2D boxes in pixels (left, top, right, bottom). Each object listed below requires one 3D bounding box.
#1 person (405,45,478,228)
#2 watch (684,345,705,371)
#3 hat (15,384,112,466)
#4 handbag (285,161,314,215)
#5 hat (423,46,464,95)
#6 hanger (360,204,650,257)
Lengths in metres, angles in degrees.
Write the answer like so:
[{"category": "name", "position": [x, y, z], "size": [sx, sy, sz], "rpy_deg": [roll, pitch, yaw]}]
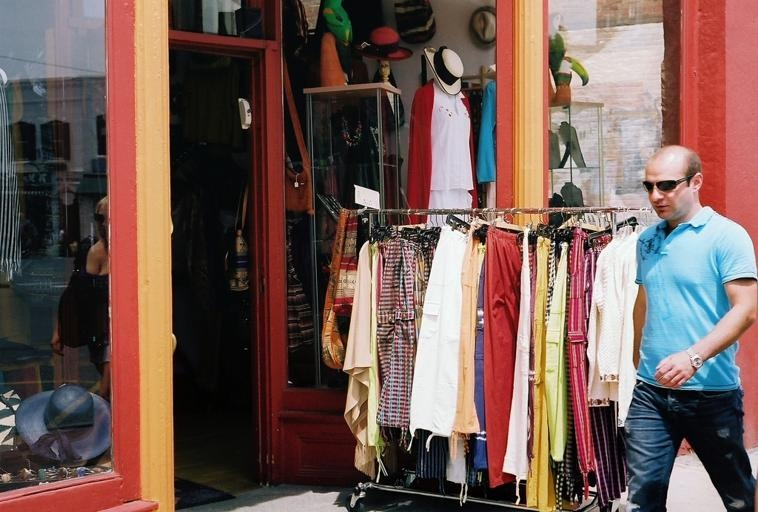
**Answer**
[{"category": "person", "position": [0.438, -0.755, 6.613], "size": [0.199, 1.188, 0.753], "rpy_deg": [-1, -1, 38]}, {"category": "watch", "position": [1.494, 0.485, 4.850], "size": [0.067, 0.113, 0.108], "rpy_deg": [-26, 7, 17]}, {"category": "hat", "position": [-1.546, 0.821, 5.263], "size": [0.513, 0.370, 0.391], "rpy_deg": [7, 5, 28]}, {"category": "handbag", "position": [-0.523, -0.445, 6.766], "size": [0.195, 0.378, 0.056], "rpy_deg": [5, 23, 12]}, {"category": "hat", "position": [0.439, -1.221, 6.655], "size": [0.135, 0.292, 0.259], "rpy_deg": [-4, 9, -38]}, {"category": "hanger", "position": [0.691, -0.225, 6.196], "size": [1.661, 0.133, 0.807], "rpy_deg": [1, 2, 15]}]
